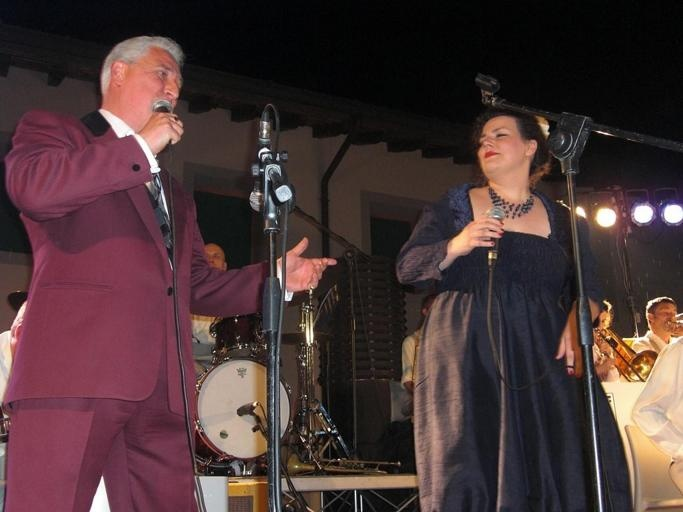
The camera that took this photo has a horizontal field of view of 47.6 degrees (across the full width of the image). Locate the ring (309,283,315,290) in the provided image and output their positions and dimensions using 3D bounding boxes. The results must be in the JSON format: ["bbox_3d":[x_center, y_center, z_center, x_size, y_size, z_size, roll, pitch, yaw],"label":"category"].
[{"bbox_3d":[-0.136,0.130,3.543,0.022,0.021,0.022,-2,-10,0],"label":"ring"}]

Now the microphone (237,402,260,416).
[{"bbox_3d":[-0.694,1.118,5.813,0.067,0.083,0.236,1,-15,-41],"label":"microphone"}]

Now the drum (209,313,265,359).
[{"bbox_3d":[-0.823,0.629,6.262,0.544,0.473,0.490,2,-1,-13],"label":"drum"}]

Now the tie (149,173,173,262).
[{"bbox_3d":[-0.745,-0.166,3.278,0.105,0.372,0.117,7,0,-11],"label":"tie"}]
